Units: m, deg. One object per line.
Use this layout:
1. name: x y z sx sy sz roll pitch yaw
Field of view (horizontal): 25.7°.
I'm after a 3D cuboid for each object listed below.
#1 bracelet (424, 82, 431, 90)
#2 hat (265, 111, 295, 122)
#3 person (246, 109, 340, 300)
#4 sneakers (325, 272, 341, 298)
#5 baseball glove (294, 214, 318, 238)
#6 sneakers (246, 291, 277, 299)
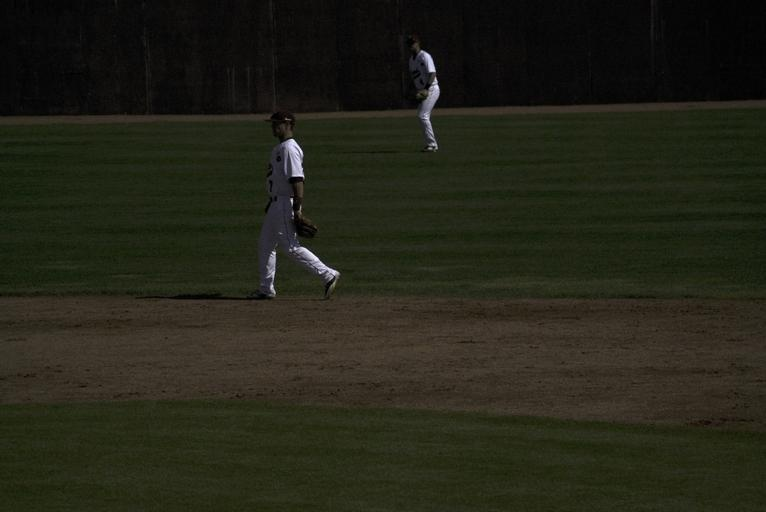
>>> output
1. bracelet: 0.962 -3.457 34.268 0.100 0.196 0.067 15 43 -27
2. hat: -1.567 -2.208 26.509 0.355 0.107 0.226 0 3 -11
3. person: -1.368 -0.779 26.524 1.175 2.958 0.492 2 6 6
4. sneakers: -0.753 0.457 26.611 0.234 0.441 0.185 5 30 -20
5. baseball glove: -1.188 -0.465 26.432 0.325 0.325 0.158 0 6 -4
6. sneakers: -1.904 0.615 26.683 0.437 0.150 0.141 3 4 -1
